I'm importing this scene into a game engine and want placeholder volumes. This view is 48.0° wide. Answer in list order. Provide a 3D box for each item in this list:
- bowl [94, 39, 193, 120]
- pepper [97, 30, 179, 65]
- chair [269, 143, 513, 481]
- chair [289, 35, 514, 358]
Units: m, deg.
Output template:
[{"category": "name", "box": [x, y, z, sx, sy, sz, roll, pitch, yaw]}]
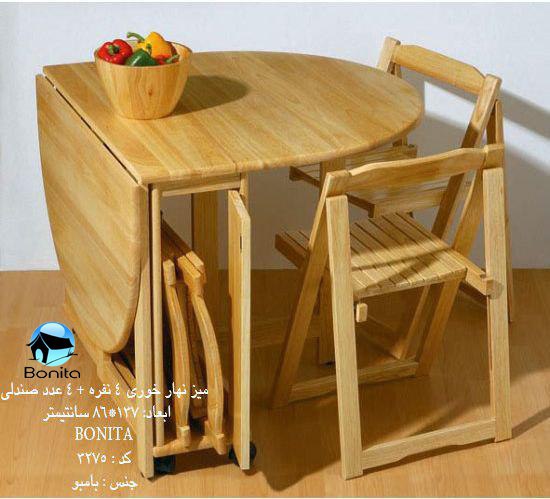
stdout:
[{"category": "bowl", "box": [-0.347, -0.452, 1.640, 0.215, 0.152, 0.234, 5, 32, -3]}, {"category": "pepper", "box": [-0.360, -0.506, 1.636, 0.154, 0.113, 0.188, 1, 21, -6]}, {"category": "chair", "box": [0.418, 0.000, 1.956, 0.499, 0.718, 0.483, 17, 43, 33]}, {"category": "chair", "box": [0.365, -0.145, 2.164, 0.711, 0.952, 0.659, -3, -8, 44]}]
